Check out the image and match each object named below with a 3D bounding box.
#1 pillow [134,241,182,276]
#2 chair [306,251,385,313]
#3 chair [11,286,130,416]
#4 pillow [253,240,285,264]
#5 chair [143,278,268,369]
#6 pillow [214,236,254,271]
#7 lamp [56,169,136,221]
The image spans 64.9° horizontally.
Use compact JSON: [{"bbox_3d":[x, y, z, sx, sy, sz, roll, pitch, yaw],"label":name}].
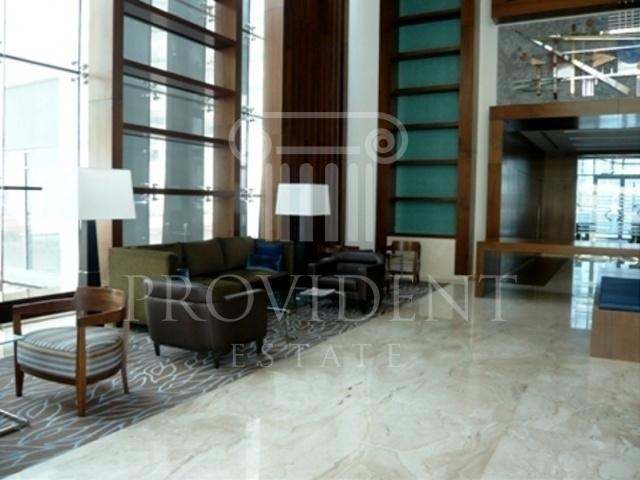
[{"bbox_3d":[-2.069,0.273,6.628,0.541,0.392,1.302,-1,9,-15],"label":"pillow"},{"bbox_3d":[0.392,0.532,7.781,1.131,0.968,0.889,0,-2,32],"label":"chair"},{"bbox_3d":[-2.219,0.938,4.536,0.974,0.956,0.602,5,10,22],"label":"chair"},{"bbox_3d":[-0.824,0.202,8.170,0.351,0.337,0.121,-2,-20,14],"label":"pillow"},{"bbox_3d":[-1.171,0.744,5.373,1.122,0.895,0.973,2,4,32],"label":"chair"},{"bbox_3d":[-1.380,0.221,8.017,0.166,0.321,0.484,-37,-17,36],"label":"pillow"},{"bbox_3d":[-2.305,-0.480,5.156,0.745,0.514,0.305,-4,10,-28],"label":"lamp"}]
